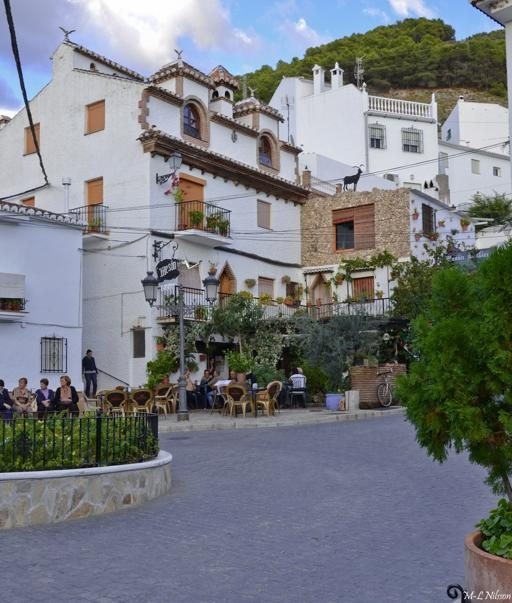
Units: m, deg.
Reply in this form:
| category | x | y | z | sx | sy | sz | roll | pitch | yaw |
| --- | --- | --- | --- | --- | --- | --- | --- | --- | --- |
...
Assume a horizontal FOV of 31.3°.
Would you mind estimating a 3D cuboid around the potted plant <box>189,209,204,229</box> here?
| category | x | y | z | sx | sy | sz | roll | pitch | yaw |
| --- | --- | --- | --- | --- | --- | --- | --- | --- | --- |
| potted plant | -1.911 | -2.637 | 29.138 | 0.486 | 0.716 | 0.552 | 0 | 3 | -2 |

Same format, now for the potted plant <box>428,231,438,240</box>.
| category | x | y | z | sx | sy | sz | roll | pitch | yaw |
| --- | --- | --- | --- | --- | --- | --- | --- | --- | --- |
| potted plant | 6.722 | -2.495 | 35.003 | 0.290 | 0.323 | 0.267 | 2 | -7 | -6 |

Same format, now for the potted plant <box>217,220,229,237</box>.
| category | x | y | z | sx | sy | sz | roll | pitch | yaw |
| --- | --- | --- | --- | --- | --- | --- | --- | --- | --- |
| potted plant | -1.077 | -2.436 | 30.432 | 0.439 | 0.640 | 0.535 | -1 | 0 | 11 |

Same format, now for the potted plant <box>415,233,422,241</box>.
| category | x | y | z | sx | sy | sz | roll | pitch | yaw |
| --- | --- | --- | --- | --- | --- | --- | --- | --- | --- |
| potted plant | 6.119 | -2.464 | 34.910 | 0.178 | 0.277 | 0.441 | -3 | -5 | 22 |

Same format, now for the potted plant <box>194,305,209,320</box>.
| category | x | y | z | sx | sy | sz | roll | pitch | yaw |
| --- | --- | --- | --- | --- | --- | --- | --- | --- | --- |
| potted plant | -1.667 | 0.358 | 27.699 | 0.423 | 0.460 | 0.393 | 1 | -6 | -13 |

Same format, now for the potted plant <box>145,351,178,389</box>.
| category | x | y | z | sx | sy | sz | roll | pitch | yaw |
| --- | --- | --- | --- | --- | --- | --- | --- | --- | --- |
| potted plant | -2.674 | 1.977 | 26.531 | 0.927 | 1.035 | 0.902 | 4 | 5 | 37 |

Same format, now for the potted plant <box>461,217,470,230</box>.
| category | x | y | z | sx | sy | sz | roll | pitch | yaw |
| --- | --- | --- | --- | --- | --- | --- | --- | --- | --- |
| potted plant | 8.248 | -3.105 | 36.452 | 0.441 | 0.510 | 0.472 | 0 | 0 | 9 |

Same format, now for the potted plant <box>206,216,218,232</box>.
| category | x | y | z | sx | sy | sz | roll | pitch | yaw |
| --- | --- | --- | --- | --- | --- | --- | --- | --- | --- |
| potted plant | -1.442 | -2.552 | 29.825 | 0.392 | 0.457 | 0.444 | 13 | 19 | 34 |

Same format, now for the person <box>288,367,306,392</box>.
| category | x | y | z | sx | sy | sz | roll | pitch | yaw |
| --- | --- | --- | --- | --- | --- | --- | --- | --- | --- |
| person | 1.146 | 2.189 | 25.459 | 0.474 | 0.870 | 0.605 | 1 | 2 | 6 |
